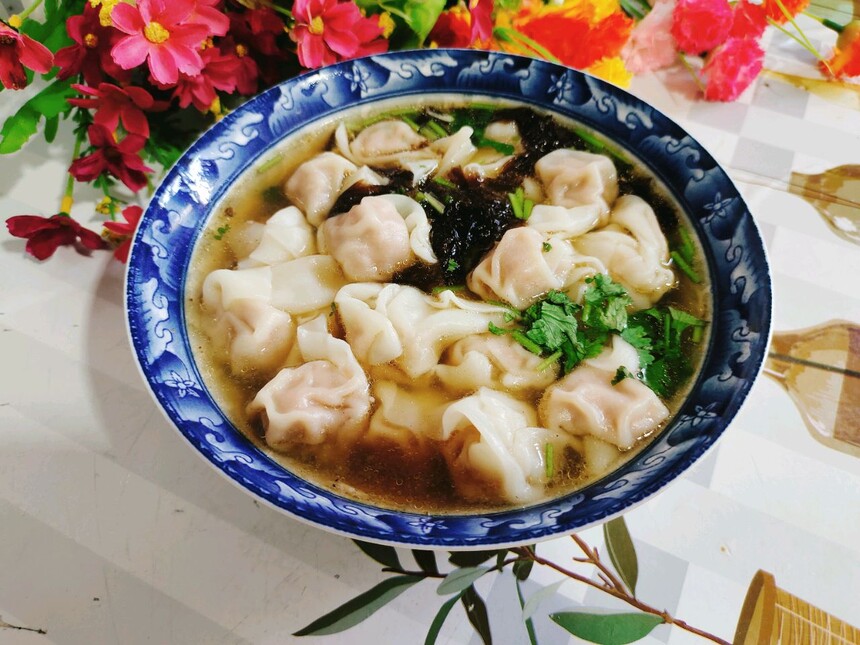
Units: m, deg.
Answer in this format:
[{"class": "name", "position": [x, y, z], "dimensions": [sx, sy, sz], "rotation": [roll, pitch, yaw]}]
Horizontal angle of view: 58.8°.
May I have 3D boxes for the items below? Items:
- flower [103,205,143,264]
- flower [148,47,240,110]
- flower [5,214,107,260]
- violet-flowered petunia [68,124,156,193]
[{"class": "flower", "position": [-1.526, -0.444, 3.798], "dimensions": [0.136, 0.295, 0.304], "rotation": [5, 51, -34]}, {"class": "flower", "position": [-1.205, -1.324, 3.950], "dimensions": [0.407, 0.420, 0.130], "rotation": [18, 89, -30]}, {"class": "flower", "position": [-1.859, -0.427, 3.766], "dimensions": [0.305, 0.298, 0.123], "rotation": [29, 87, -45]}, {"class": "violet-flowered petunia", "position": [-1.607, -0.846, 3.831], "dimensions": [0.389, 0.317, 0.159], "rotation": [42, 48, -11]}]
